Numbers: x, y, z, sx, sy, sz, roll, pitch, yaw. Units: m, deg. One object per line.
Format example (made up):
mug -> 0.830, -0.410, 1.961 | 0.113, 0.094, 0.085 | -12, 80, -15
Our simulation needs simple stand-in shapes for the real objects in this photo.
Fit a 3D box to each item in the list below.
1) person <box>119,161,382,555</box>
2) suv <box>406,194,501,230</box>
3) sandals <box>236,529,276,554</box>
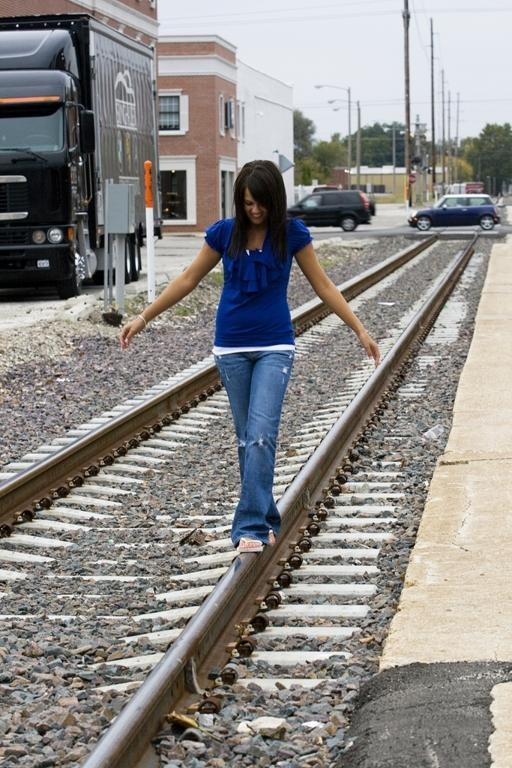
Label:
person -> 0.039, -0.093, 3.494 | 0.830, 1.534, 0.630 | -4, 2, 37
suv -> 11.844, -10.368, 46.415 | 4.897, 1.867, 2.251 | 2, 8, 5
sandals -> -0.004, 0.710, 3.476 | 0.070, 0.092, 0.223 | -5, -9, 19
